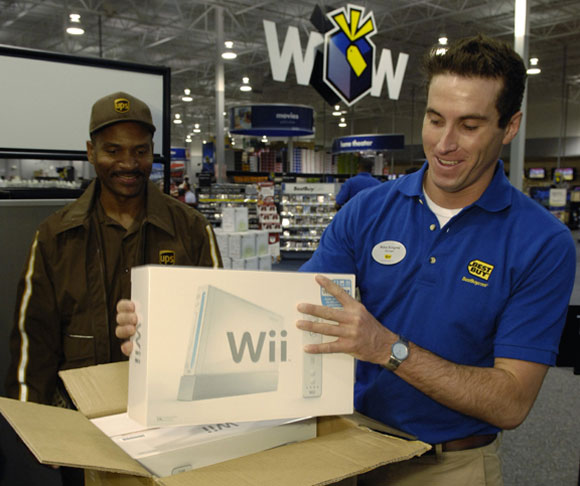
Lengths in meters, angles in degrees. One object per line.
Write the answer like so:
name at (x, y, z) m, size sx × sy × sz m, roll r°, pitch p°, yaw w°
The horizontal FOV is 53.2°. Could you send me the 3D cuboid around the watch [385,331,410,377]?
watch at (0.288, 0.294, 1.531) m, size 0.053 × 0.092 × 0.080 m, roll 26°, pitch -21°, yaw 7°
